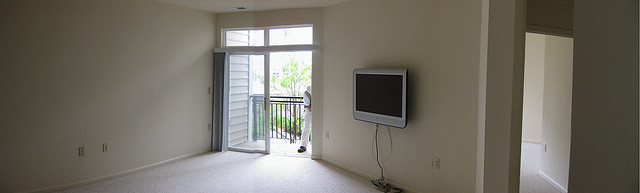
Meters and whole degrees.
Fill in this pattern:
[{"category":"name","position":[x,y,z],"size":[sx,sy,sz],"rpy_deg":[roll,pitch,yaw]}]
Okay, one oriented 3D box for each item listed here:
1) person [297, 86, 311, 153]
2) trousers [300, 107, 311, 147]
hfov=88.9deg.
[{"category":"person","position":[-0.622,0.924,13.433],"size":[0.495,2.699,0.403],"rpy_deg":[2,7,-3]},{"category":"trousers","position":[-0.581,1.265,13.524],"size":[0.385,1.597,0.352],"rpy_deg":[3,7,-1]}]
